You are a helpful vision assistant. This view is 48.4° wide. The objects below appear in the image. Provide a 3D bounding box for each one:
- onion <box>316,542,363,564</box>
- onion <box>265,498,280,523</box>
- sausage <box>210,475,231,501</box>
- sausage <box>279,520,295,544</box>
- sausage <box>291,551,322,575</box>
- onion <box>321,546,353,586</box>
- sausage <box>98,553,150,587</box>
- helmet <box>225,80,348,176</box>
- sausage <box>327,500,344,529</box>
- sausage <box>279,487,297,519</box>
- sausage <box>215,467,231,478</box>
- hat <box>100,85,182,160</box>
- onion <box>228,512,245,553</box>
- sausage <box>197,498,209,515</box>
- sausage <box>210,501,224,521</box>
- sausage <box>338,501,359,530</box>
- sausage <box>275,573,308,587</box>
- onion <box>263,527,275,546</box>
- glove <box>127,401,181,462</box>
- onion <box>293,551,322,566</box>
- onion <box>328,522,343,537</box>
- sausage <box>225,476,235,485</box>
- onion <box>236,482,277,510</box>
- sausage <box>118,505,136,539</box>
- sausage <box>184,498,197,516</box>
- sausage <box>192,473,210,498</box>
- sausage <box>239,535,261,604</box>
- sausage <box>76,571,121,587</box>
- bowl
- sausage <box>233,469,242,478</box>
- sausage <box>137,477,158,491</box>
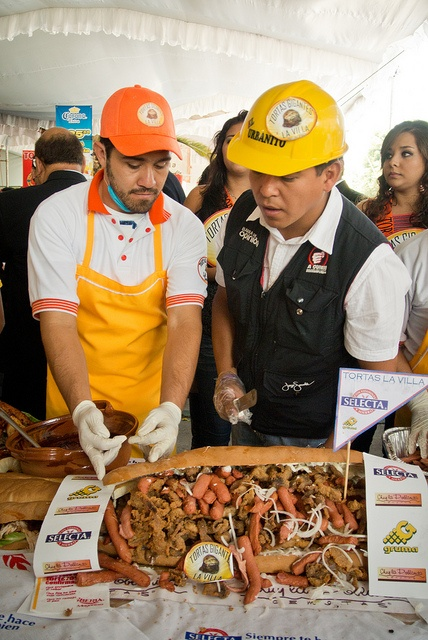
[{"bbox_3d":[0.353,0.628,1.281,0.070,0.018,0.052,7,18,-5],"label":"onion"},{"bbox_3d":[0.167,0.536,1.338,0.021,0.060,0.047,0,-9,13],"label":"onion"},{"bbox_3d":[0.012,0.490,1.382,0.048,0.043,0.107,-2,11,-21],"label":"sausage"},{"bbox_3d":[0.199,0.577,1.313,0.033,0.022,0.066,27,55,6],"label":"sausage"},{"bbox_3d":[0.247,0.649,1.284,0.076,0.019,0.038,-29,29,-23],"label":"sausage"},{"bbox_3d":[0.325,0.654,1.273,0.019,0.094,0.064,-33,1,39],"label":"onion"},{"bbox_3d":[-0.242,0.664,1.261,0.126,0.031,0.030,23,-24,13],"label":"sausage"},{"bbox_3d":[0.274,-0.688,1.596,0.386,0.247,0.460,22,42,20],"label":"helmet"},{"bbox_3d":[0.340,0.549,1.348,0.030,0.023,0.062,-3,42,-20],"label":"sausage"},{"bbox_3d":[0.202,0.518,1.355,0.038,0.025,0.078,-15,62,-26],"label":"sausage"},{"bbox_3d":[0.026,0.457,1.429,0.029,0.021,0.038,0,-5,-32],"label":"sausage"},{"bbox_3d":[-0.266,-0.759,1.805,0.276,0.209,0.405,-8,34,-25],"label":"hat"},{"bbox_3d":[0.054,0.577,1.320,0.019,0.017,0.125,-18,60,-10],"label":"onion"},{"bbox_3d":[-0.030,0.527,1.343,0.016,0.022,0.041,-11,62,-49],"label":"sausage"},{"bbox_3d":[0.008,0.529,1.322,0.025,0.024,0.054,16,23,-6],"label":"sausage"},{"bbox_3d":[0.377,0.555,1.351,0.033,0.021,0.063,-20,55,-28],"label":"sausage"},{"bbox_3d":[0.207,0.684,1.251,0.065,0.018,0.033,8,1,0],"label":"sausage"},{"bbox_3d":[0.153,0.605,1.323,0.032,0.043,0.011,-27,-6,-29],"label":"onion"},{"bbox_3d":[-0.218,0.395,1.687,0.155,0.155,0.283,-8,17,13],"label":"glove"},{"bbox_3d":[0.253,0.637,1.292,0.061,0.014,0.029,-25,-4,-6],"label":"onion"},{"bbox_3d":[0.338,0.583,1.329,0.044,0.036,0.034,5,11,14],"label":"onion"},{"bbox_3d":[0.046,0.476,1.412,0.019,0.020,0.020,0,53,-46],"label":"sausage"},{"bbox_3d":[0.119,0.495,1.353,0.075,0.026,0.073,-9,31,-17],"label":"onion"},{"bbox_3d":[-0.228,0.540,1.300,0.054,0.024,0.108,-11,48,-1],"label":"sausage"},{"bbox_3d":[-0.070,0.523,1.335,0.037,0.039,0.055,4,11,11],"label":"sausage"},{"bbox_3d":[-0.036,0.475,1.362,0.031,0.021,0.066,13,29,12],"label":"sausage"},{"bbox_3d":[0.096,0.642,1.228,0.032,0.039,0.153,-18,53,16],"label":"sausage"},{"bbox_3d":[-0.299,0.663,1.241,0.120,0.035,0.035,2,-19,-24],"label":"sausage"},{"bbox_3d":[-0.512,0.423,1.588,0.270,0.102,0.286,0,10,0],"label":"bowl"},{"bbox_3d":[0.070,0.462,1.434,0.033,0.017,0.036,3,10,4],"label":"sausage"},{"bbox_3d":[-0.199,0.478,1.385,0.039,0.031,0.073,6,11,20],"label":"sausage"}]
